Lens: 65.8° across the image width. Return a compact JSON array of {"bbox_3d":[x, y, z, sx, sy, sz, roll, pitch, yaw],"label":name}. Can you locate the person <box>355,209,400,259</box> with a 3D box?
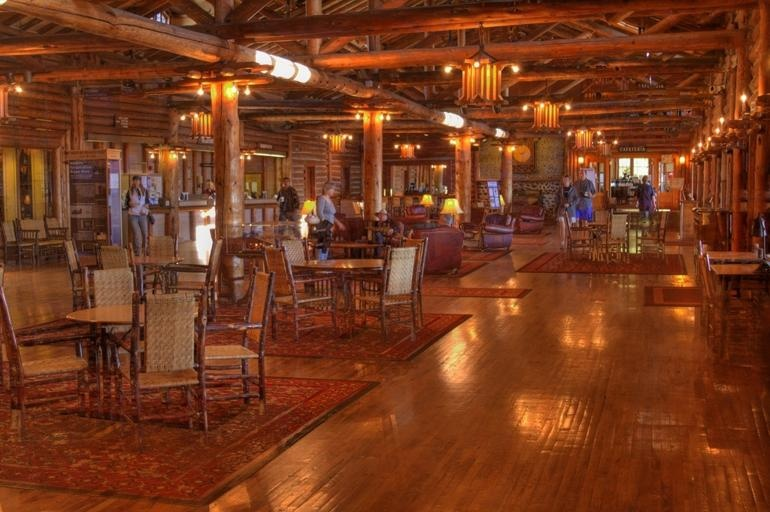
[{"bbox_3d":[-0.054,-0.489,12.429,1.113,0.711,1.490,9,-3,-4],"label":"person"}]

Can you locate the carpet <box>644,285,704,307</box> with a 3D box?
[{"bbox_3d":[4.794,0.669,9.960,0.836,0.103,2.081,0,4,25],"label":"carpet"}]
